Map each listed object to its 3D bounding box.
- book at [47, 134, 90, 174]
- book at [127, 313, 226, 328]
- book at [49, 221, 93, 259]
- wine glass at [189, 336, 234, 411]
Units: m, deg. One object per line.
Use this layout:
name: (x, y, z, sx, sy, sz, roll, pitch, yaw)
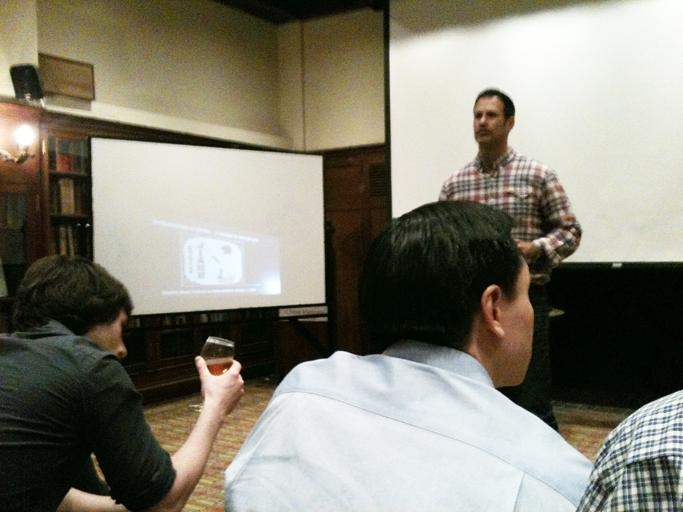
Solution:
book: (-2.005, -0.741, 3.962, 0.166, 0.283, 0.310, 1, 3, 18)
book: (-1.216, 0.488, 4.087, 0.707, 0.097, 0.160, -2, -6, -31)
book: (-1.892, -0.120, 3.777, 0.228, 0.316, 0.319, -1, -3, 26)
wine glass: (-0.360, 0.308, 1.588, 0.089, 0.135, 0.085, 3, 9, -28)
